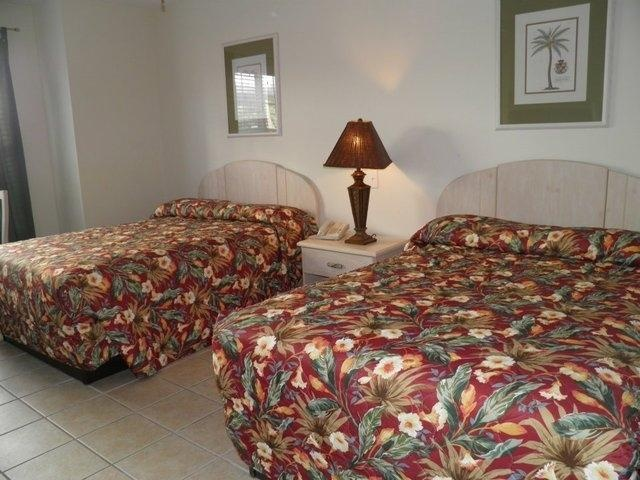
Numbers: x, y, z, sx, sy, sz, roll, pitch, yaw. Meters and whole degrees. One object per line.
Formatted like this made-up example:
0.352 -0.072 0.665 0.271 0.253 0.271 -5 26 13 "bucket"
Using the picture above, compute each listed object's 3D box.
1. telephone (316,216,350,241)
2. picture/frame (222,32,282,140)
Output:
0.096 -0.076 3.625 0.196 0.043 0.181 2 33 27 "telephone"
-0.618 -1.470 4.195 1.040 1.082 0.044 7 14 34 "picture/frame"
